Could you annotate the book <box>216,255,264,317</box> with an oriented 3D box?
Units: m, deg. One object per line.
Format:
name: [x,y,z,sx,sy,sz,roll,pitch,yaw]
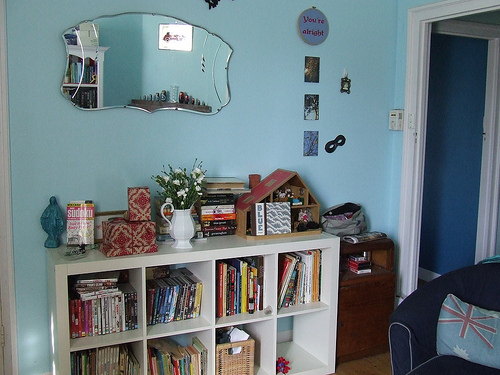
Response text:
book: [-0.112,0.618,3.160,0.316,0.458,0.448,1,2,-16]

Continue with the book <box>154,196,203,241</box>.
book: [-0.553,0.193,2.946,0.282,0.317,0.070,-3,-3,-12]

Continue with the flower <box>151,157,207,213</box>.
flower: [-0.477,-0.007,2.925,0.270,0.302,0.279,-5,-10,5]

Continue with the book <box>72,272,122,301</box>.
book: [-0.934,0.594,2.670,0.179,0.070,0.166,-1,1,-34]

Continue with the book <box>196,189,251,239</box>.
book: [-0.207,0.128,3.226,0.376,0.404,0.286,-3,8,-23]

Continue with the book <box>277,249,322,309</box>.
book: [0.308,0.596,3.335,0.325,0.475,0.453,-1,3,-19]

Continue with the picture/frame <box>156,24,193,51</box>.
picture/frame: [-0.524,-1.026,2.991,0.186,0.147,0.025,-1,4,-23]

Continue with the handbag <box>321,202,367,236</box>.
handbag: [0.774,0.295,3.589,0.342,0.161,0.437,0,9,-3]

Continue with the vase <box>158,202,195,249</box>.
vase: [-0.464,0.237,2.845,0.221,0.294,0.158,-2,6,-21]

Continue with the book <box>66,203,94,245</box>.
book: [-1.110,0.247,2.855,0.185,0.269,0.141,1,-12,-27]

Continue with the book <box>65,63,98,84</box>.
book: [-1.078,-0.728,2.805,0.201,0.138,0.013,-7,6,-20]

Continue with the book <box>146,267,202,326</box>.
book: [-0.501,0.730,2.862,0.354,0.273,0.222,-6,13,-22]

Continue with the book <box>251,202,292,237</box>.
book: [0.151,0.215,3.045,0.229,0.236,0.057,0,2,-25]
